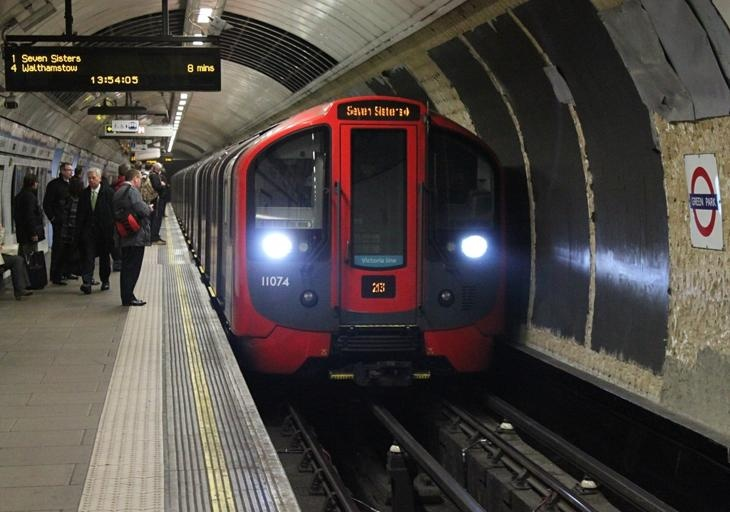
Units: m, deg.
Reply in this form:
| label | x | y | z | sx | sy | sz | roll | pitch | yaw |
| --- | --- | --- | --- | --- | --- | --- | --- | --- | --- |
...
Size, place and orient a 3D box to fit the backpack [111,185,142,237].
| label | x | y | z | sx | sy | sz | roll | pitch | yaw |
| --- | --- | --- | --- | --- | --- | --- | --- | --- | --- |
| backpack | -4.092 | -0.758 | 9.307 | 0.418 | 0.904 | 0.271 | 1 | 9 | 24 |

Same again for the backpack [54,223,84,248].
| label | x | y | z | sx | sy | sz | roll | pitch | yaw |
| --- | --- | --- | --- | --- | --- | --- | --- | --- | --- |
| backpack | -6.143 | -0.437 | 11.273 | 0.519 | 0.562 | 0.315 | 1 | -2 | 3 |

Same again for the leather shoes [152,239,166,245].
| label | x | y | z | sx | sy | sz | roll | pitch | yaw |
| --- | --- | --- | --- | --- | --- | --- | --- | --- | --- |
| leather shoes | -7.518 | -0.500 | 19.815 | 0.494 | 0.187 | 0.164 | -3 | 12 | -16 |

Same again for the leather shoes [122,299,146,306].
| label | x | y | z | sx | sy | sz | roll | pitch | yaw |
| --- | --- | --- | --- | --- | --- | --- | --- | --- | --- |
| leather shoes | -4.060 | 0.828 | 9.579 | 0.317 | 0.086 | 0.143 | -3 | 4 | -3 |

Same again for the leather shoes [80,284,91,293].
| label | x | y | z | sx | sy | sz | roll | pitch | yaw |
| --- | --- | --- | --- | --- | --- | --- | --- | --- | --- |
| leather shoes | -5.645 | 0.656 | 10.908 | 0.133 | 0.225 | 0.219 | -2 | 11 | -5 |

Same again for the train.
| label | x | y | z | sx | sy | sz | roll | pitch | yaw |
| --- | --- | --- | --- | --- | --- | --- | --- | --- | --- |
| train | -0.230 | -0.189 | 7.026 | 1.692 | 1.951 | 7.142 | -1 | 3 | -13 |

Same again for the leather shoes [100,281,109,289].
| label | x | y | z | sx | sy | sz | roll | pitch | yaw |
| --- | --- | --- | --- | --- | --- | --- | --- | --- | --- |
| leather shoes | -5.458 | 0.620 | 11.411 | 0.187 | 0.177 | 0.113 | -4 | 10 | -20 |
